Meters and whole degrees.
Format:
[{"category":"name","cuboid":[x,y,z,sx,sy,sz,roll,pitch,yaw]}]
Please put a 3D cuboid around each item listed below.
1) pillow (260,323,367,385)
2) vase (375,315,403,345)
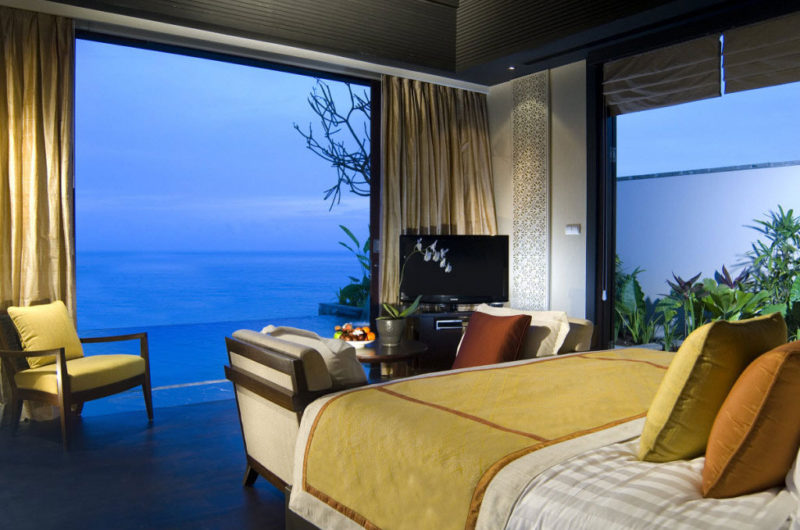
[{"category":"pillow","cuboid":[-0.480,0.458,2.982,0.368,0.154,0.487,-1,10,-42]},{"category":"vase","cuboid":[-0.076,0.564,4.236,0.243,0.195,0.227,-1,-4,6]}]
